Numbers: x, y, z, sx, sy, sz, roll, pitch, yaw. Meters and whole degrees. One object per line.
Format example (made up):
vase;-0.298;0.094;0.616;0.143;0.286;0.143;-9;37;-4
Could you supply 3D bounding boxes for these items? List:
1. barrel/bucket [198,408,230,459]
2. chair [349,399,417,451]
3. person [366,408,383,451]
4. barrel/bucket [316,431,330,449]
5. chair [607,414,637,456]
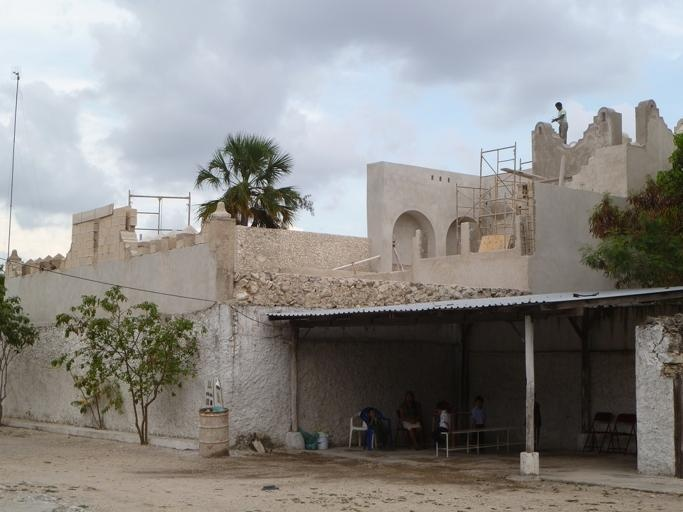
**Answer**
barrel/bucket;-3.197;4.422;29.716;0.697;1.177;0.352;1;-7;-19
chair;0.935;4.586;31.966;1.187;0.823;1.277;-5;-4;23
person;0.835;4.630;31.809;0.345;1.093;0.834;-4;-8;22
barrel/bucket;-0.533;4.887;31.460;0.326;0.396;0.365;-2;-13;9
chair;7.521;4.856;32.148;0.720;1.396;0.994;-8;-26;33
